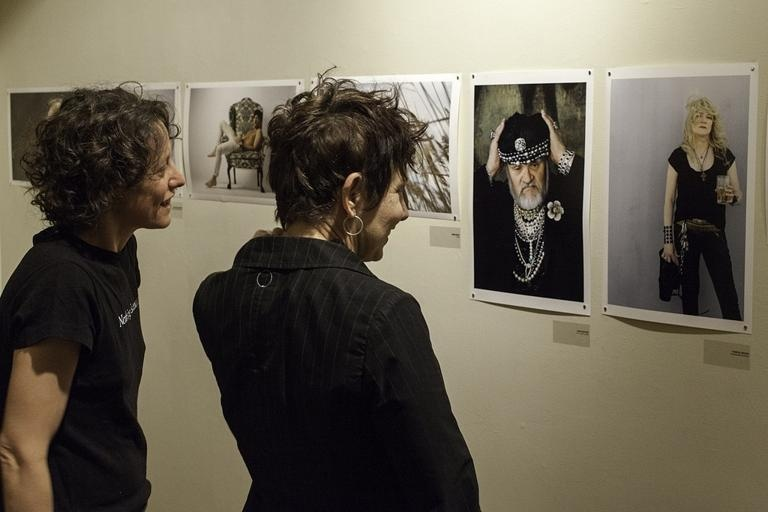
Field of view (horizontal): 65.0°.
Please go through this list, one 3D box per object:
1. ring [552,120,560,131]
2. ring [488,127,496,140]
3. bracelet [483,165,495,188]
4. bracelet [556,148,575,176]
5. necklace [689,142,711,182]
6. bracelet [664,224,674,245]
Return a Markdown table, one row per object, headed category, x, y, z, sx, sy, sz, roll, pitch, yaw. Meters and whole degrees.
| category | x | y | z | sx | sy | sz | roll | pitch | yaw |
| --- | --- | --- | --- | --- | --- | --- | --- | --- | --- |
| ring | 0.778 | -0.595 | 2.732 | 0.010 | 0.038 | 0.033 | -8 | -14 | -46 |
| ring | 0.507 | -0.585 | 2.836 | 0.010 | 0.041 | 0.036 | 1 | 1 | -44 |
| bracelet | 0.504 | -0.384 | 2.882 | 0.022 | 0.087 | 0.056 | -9 | 6 | -27 |
| bracelet | 0.826 | -0.428 | 2.732 | 0.028 | 0.106 | 0.065 | 8 | 8 | -45 |
| necklace | 1.328 | -0.403 | 2.529 | 0.044 | 0.162 | 0.008 | -2 | -26 | 22 |
| bracelet | 1.227 | -0.096 | 2.605 | 0.057 | 0.067 | 0.014 | 4 | 6 | 45 |
